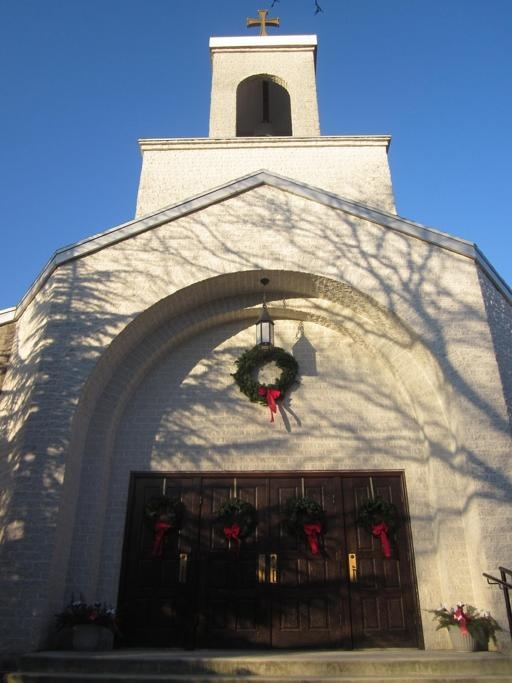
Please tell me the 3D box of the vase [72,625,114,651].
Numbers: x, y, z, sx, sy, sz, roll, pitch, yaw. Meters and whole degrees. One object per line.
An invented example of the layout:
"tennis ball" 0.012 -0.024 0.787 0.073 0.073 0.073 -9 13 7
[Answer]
"vase" -1.951 3.505 6.062 0.447 0.290 0.453 -23 -35 32

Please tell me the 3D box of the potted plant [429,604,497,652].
"potted plant" 2.393 3.258 5.854 0.438 0.478 0.731 9 -32 -16
